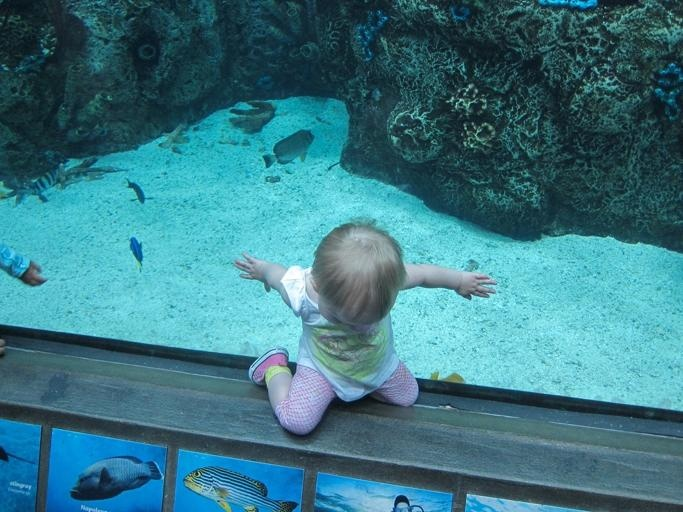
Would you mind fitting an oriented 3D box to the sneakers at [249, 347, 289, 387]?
[{"bbox_3d":[-0.507,0.792,4.750,0.174,0.162,0.362,37,61,16],"label":"sneakers"}]

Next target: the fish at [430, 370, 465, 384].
[{"bbox_3d":[0.842,0.962,5.144,0.134,0.077,0.184,6,-8,-42],"label":"fish"}]

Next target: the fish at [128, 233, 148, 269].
[{"bbox_3d":[-1.798,-0.096,5.608,0.152,0.191,0.486,0,39,-22],"label":"fish"}]

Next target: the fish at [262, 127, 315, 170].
[{"bbox_3d":[-0.613,-1.224,7.319,0.289,0.493,0.714,26,31,25],"label":"fish"}]
